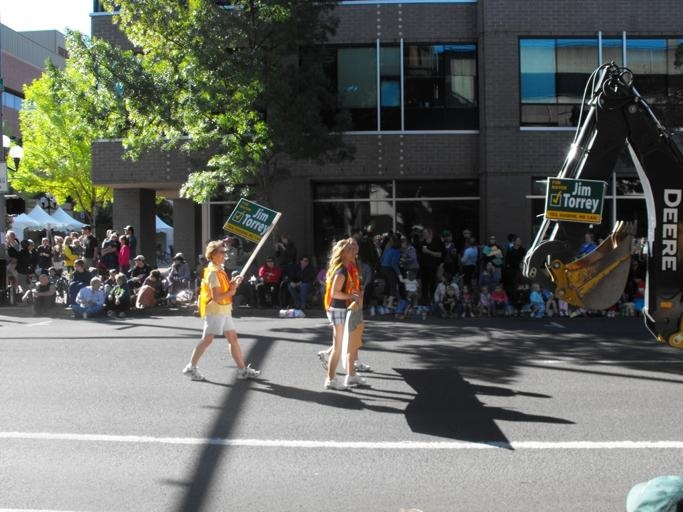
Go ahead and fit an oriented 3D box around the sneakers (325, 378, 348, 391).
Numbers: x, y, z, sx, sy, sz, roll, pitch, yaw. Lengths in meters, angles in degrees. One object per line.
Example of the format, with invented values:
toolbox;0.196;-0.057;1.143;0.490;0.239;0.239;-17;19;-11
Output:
sneakers;-0.076;1.996;14.468;0.373;0.178;0.145;1;0;-3

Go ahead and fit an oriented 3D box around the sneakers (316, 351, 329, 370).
sneakers;-0.268;1.669;15.343;0.166;0.360;0.131;-20;2;-11

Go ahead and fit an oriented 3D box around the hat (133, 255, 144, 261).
hat;-5.239;0.048;24.054;0.276;0.146;0.201;1;1;2

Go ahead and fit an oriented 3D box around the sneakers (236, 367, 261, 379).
sneakers;-1.477;1.876;15.104;0.362;0.171;0.152;-2;12;-7

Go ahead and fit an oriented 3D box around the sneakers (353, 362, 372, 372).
sneakers;0.348;1.837;15.536;0.315;0.137;0.132;1;0;-5

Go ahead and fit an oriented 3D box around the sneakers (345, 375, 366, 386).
sneakers;0.227;1.943;14.670;0.384;0.166;0.139;1;4;-12

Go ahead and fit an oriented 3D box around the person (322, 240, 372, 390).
person;0.081;0.898;14.542;0.667;2.250;0.880;0;12;1

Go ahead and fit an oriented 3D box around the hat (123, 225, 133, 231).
hat;-6.237;-0.824;27.509;0.276;0.128;0.195;7;7;-4
